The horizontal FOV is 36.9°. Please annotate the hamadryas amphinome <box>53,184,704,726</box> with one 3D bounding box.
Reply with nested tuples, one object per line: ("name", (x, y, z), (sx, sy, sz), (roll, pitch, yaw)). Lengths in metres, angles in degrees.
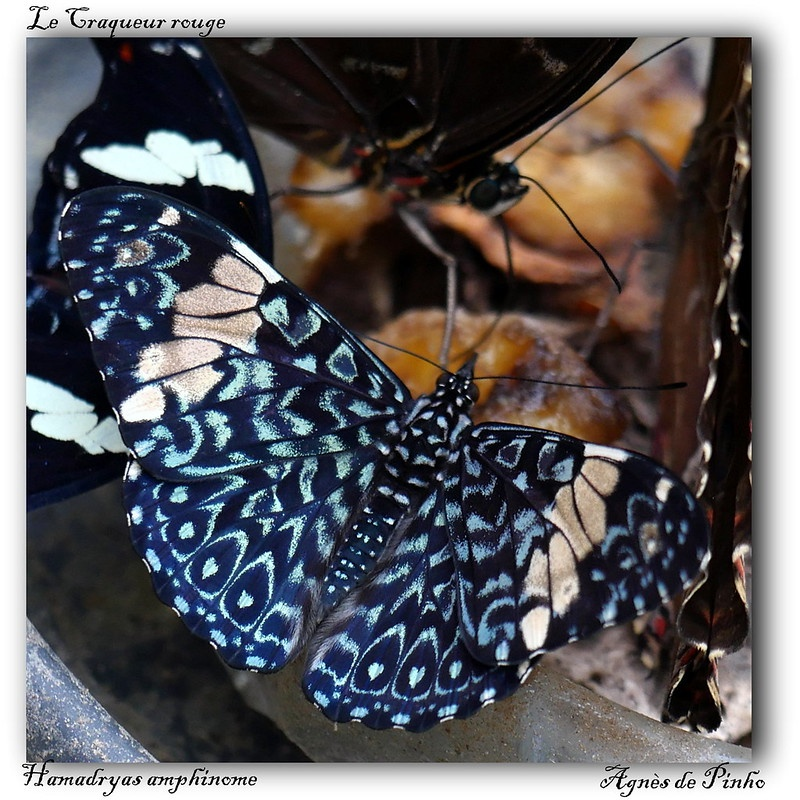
("hamadryas amphinome", (-0.098, 0.087, 1.173), (0.685, 0.179, 0.371), (32, 82, 4))
